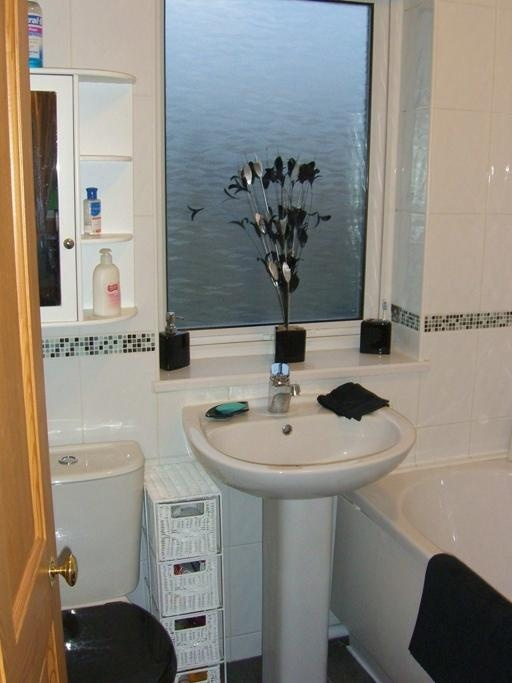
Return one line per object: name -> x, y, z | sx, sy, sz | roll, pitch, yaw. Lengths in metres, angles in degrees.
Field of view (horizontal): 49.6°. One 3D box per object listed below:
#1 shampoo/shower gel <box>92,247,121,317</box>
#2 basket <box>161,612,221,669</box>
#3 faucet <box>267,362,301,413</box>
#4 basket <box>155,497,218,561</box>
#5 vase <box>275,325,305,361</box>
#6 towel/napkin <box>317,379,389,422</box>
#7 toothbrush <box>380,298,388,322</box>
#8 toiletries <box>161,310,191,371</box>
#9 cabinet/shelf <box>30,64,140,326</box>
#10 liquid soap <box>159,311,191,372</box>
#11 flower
shampoo/shower gel -> -0.423, -0.166, 1.584 | 0.075, 0.198, 0.075 | -6, 23, -23
basket -> -0.205, 0.953, 1.782 | 0.153, 0.159, 0.120 | -5, -9, -12
faucet -> 0.095, 0.148, 1.802 | 0.082, 0.160, 0.148 | 3, 1, 36
basket -> -0.213, 0.535, 1.725 | 0.211, 0.226, 0.166 | -3, 7, -20
vase -> 0.120, -0.001, 2.049 | 0.111, 0.119, 0.116 | -2, 12, -6
towel/napkin -> 0.315, 0.182, 1.839 | 0.227, 0.089, 0.247 | 12, 23, 8
toothbrush -> 0.512, -0.127, 2.201 | 0.030, 0.084, 0.061 | 1, 13, 17
toiletries -> -0.282, -0.004, 1.885 | 0.098, 0.188, 0.073 | -13, 19, -37
cabinet/shelf -> -0.503, -0.390, 1.539 | 0.341, 0.666, 0.187 | -6, 20, -27
liquid soap -> -0.282, -0.005, 1.885 | 0.099, 0.187, 0.068 | -12, 18, -41
flower -> 0.065, -0.345, 1.964 | 0.502, 0.616, 0.263 | -5, 12, -10
